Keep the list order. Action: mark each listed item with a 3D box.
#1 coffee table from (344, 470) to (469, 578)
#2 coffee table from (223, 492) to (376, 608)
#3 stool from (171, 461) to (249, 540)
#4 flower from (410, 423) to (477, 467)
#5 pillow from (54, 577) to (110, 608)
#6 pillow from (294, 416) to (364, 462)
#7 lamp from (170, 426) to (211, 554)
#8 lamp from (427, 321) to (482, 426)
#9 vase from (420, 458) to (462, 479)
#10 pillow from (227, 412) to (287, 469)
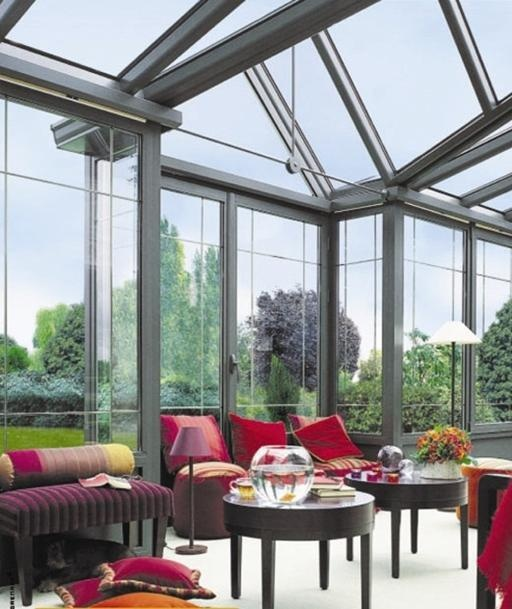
[{"bbox_3d":[0.883,1.325,4.034,0.783,0.525,0.776,-6,-13,35],"label":"coffee table"},{"bbox_3d":[0.129,1.014,3.050,0.685,0.474,0.695,-8,-11,44],"label":"coffee table"},{"bbox_3d":[-0.321,1.408,4.835,0.588,0.469,0.577,6,-7,-38],"label":"stool"},{"bbox_3d":[1.167,0.876,4.119,0.300,0.202,0.295,-2,-5,29],"label":"flower"},{"bbox_3d":[-0.784,1.298,2.955,0.223,0.055,0.220,0,9,-7],"label":"pillow"},{"bbox_3d":[0.627,1.185,5.806,0.447,0.371,0.405,7,-8,-42],"label":"pillow"},{"bbox_3d":[-0.421,1.191,4.263,0.240,0.818,0.599,2,-6,-3],"label":"lamp"},{"bbox_3d":[1.849,0.648,6.199,0.452,1.007,1.443,0,-6,15],"label":"lamp"},{"bbox_3d":[1.132,1.010,4.023,0.153,0.055,0.146,1,-5,-4],"label":"vase"},{"bbox_3d":[0.007,1.122,5.406,0.468,0.414,0.273,2,-6,-3],"label":"pillow"}]
